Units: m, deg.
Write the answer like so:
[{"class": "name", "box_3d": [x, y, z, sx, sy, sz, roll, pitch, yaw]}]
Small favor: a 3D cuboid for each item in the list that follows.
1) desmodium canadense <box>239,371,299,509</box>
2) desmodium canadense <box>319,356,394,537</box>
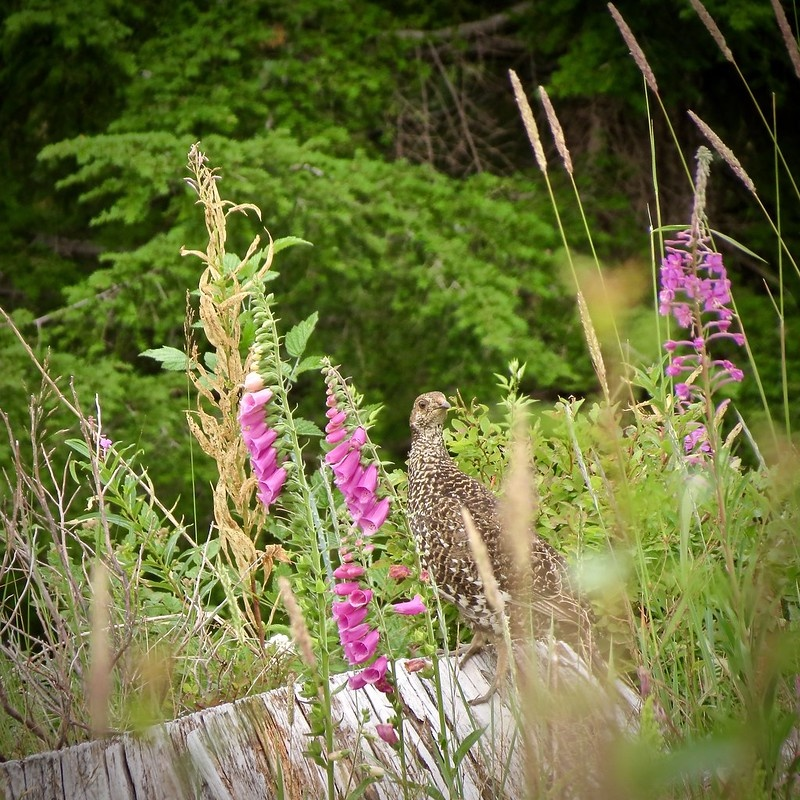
[{"class": "desmodium canadense", "box_3d": [-0.319, 0.105, 2.843, 0.090, 0.365, 0.285, -14, 15, -7]}, {"class": "desmodium canadense", "box_3d": [-0.107, 0.115, 2.755, 0.134, 0.452, 0.306, -13, 15, -5]}]
